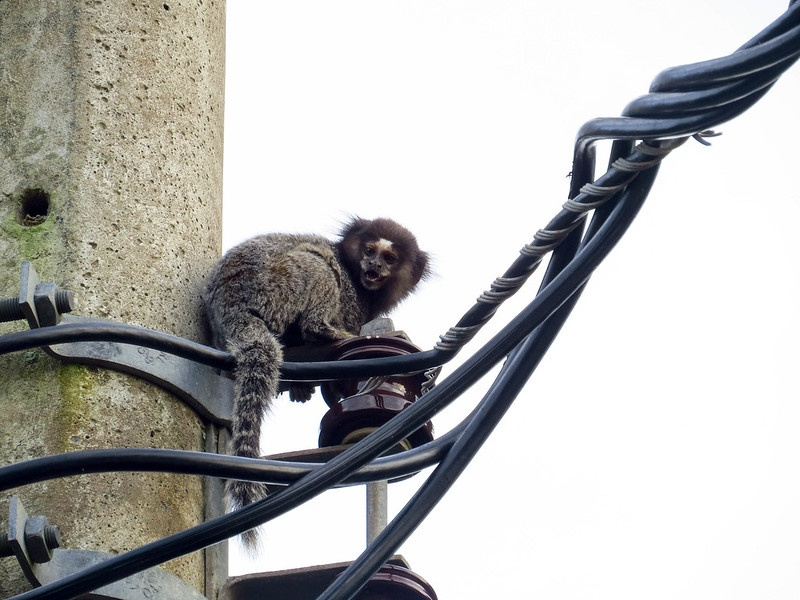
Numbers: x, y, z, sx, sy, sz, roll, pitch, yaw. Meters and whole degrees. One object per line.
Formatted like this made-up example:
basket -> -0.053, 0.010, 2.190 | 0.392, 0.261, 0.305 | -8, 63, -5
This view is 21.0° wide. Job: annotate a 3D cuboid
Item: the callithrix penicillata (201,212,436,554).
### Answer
callithrix penicillata -> -0.454, 0.368, 10.033 | 0.627, 1.638, 0.880 | -31, -60, 28
